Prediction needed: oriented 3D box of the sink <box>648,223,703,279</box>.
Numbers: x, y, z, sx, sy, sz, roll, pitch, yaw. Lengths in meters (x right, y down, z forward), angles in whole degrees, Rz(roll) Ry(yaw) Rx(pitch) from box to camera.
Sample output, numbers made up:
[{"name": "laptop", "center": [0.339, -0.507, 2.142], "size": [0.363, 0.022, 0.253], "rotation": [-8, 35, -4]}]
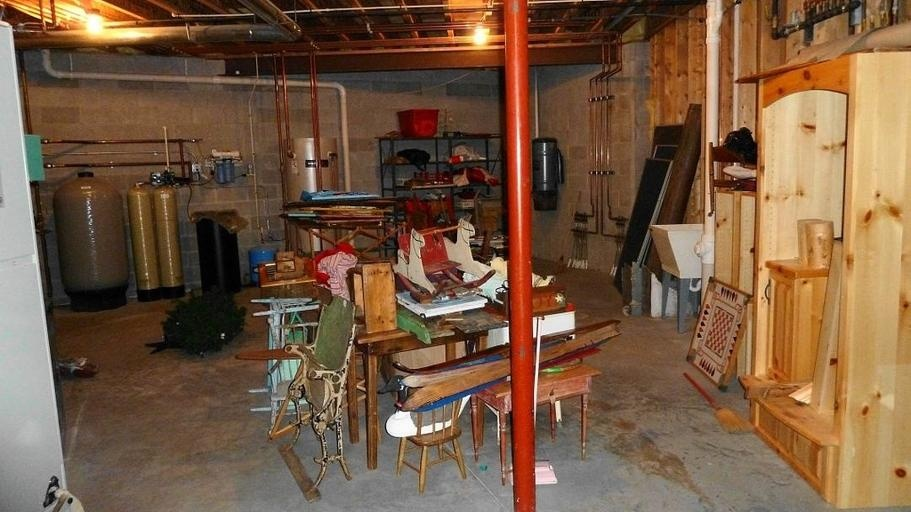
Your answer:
[{"name": "sink", "center": [3.109, -0.046, 9.536], "size": [0.644, 0.774, 0.477], "rotation": [0, 13, 18]}]

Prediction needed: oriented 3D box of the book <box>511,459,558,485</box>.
[{"name": "book", "center": [0.739, 2.031, 6.395], "size": [0.450, 0.096, 0.403], "rotation": [-1, 6, -5]}]

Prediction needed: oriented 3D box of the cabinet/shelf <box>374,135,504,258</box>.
[{"name": "cabinet/shelf", "center": [-0.377, -1.132, 12.511], "size": [3.107, 2.879, 0.885], "rotation": [2, -4, -19]}]

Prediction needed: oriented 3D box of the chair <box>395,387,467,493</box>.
[{"name": "chair", "center": [-0.256, 1.822, 6.802], "size": [0.707, 0.840, 0.624], "rotation": [-5, 12, -6]}]
